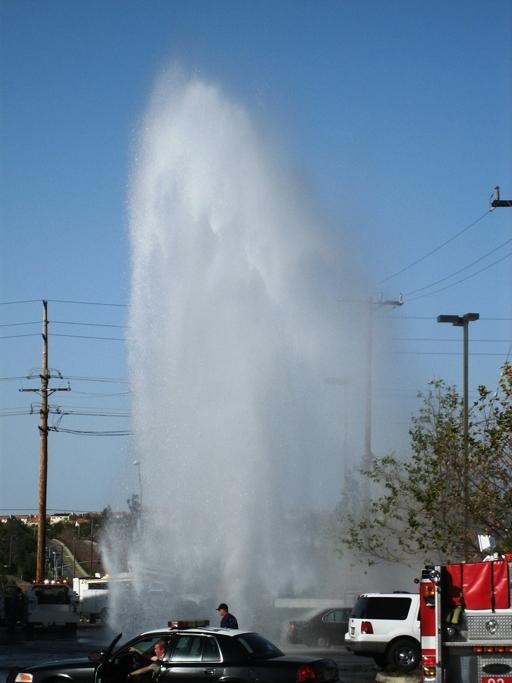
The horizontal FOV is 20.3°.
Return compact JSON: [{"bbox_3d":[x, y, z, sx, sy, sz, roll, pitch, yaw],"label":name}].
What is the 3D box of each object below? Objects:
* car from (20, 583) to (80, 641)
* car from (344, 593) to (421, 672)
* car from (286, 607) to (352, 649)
[{"bbox_3d":[-6.629,8.598,45.892,1.224,1.145,2.054,1,-3,-11],"label":"car"},{"bbox_3d":[2.758,6.038,30.130,1.762,1.089,1.061,-2,-4,-11],"label":"car"},{"bbox_3d":[1.612,7.405,37.037,2.004,0.771,0.963,-2,-1,-20],"label":"car"}]
